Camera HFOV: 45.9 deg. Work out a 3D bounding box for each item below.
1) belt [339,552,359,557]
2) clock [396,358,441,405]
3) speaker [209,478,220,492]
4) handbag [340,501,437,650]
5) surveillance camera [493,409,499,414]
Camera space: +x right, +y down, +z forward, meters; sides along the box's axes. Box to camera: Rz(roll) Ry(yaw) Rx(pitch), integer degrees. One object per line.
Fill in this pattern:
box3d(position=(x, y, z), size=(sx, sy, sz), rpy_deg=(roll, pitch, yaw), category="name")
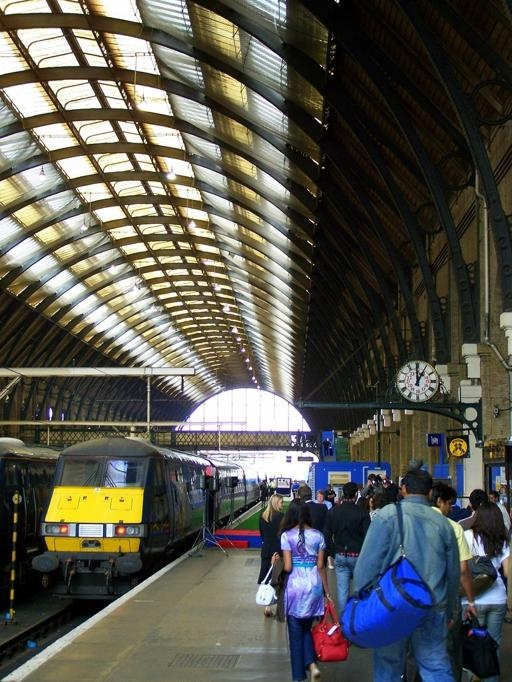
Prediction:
box3d(position=(1.093, 2.497, 7.074), size=(0.195, 0.059, 0.188), rpy_deg=(3, -9, -2), category="belt")
box3d(position=(4.660, 1.182, 17.238), size=(1.186, 1.181, 0.161), rpy_deg=(-27, 3, 1), category="clock")
box3d(position=(-1.472, 5.352, 22.282), size=(0.441, 0.494, 0.461), rpy_deg=(-1, 2, -25), category="speaker")
box3d(position=(0.619, 1.172, 2.972), size=(0.460, 0.670, 0.351), rpy_deg=(-6, -15, 12), category="handbag")
box3d(position=(6.306, 1.848, 15.840), size=(0.043, 0.147, 0.103), rpy_deg=(3, -4, -33), category="surveillance camera")
